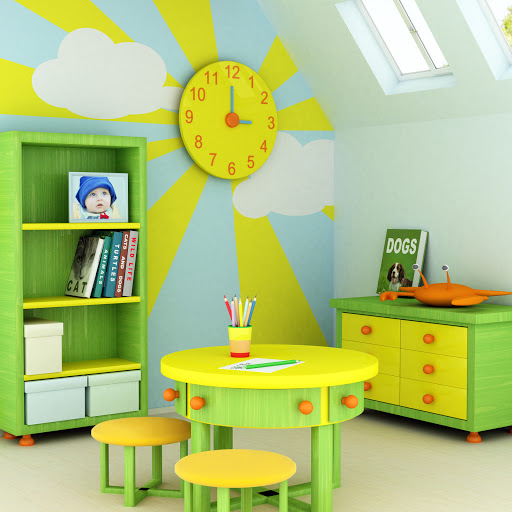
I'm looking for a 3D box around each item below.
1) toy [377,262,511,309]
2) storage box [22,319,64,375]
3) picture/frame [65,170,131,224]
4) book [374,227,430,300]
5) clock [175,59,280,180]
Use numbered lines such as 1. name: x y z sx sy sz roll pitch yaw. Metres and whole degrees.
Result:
1. toy: 1.151 0.179 3.122 0.458 0.294 0.698 -4 11 -34
2. storage box: -1.168 0.484 2.765 0.170 0.277 0.266 -3 -14 0
3. picture/frame: -0.878 -0.321 2.838 0.284 0.264 0.020 -2 3 -37
4. book: 1.006 0.049 3.514 0.159 0.626 0.439 8 -4 -27
5. clock: -0.228 -0.932 3.508 0.742 0.837 0.079 6 -6 -32
